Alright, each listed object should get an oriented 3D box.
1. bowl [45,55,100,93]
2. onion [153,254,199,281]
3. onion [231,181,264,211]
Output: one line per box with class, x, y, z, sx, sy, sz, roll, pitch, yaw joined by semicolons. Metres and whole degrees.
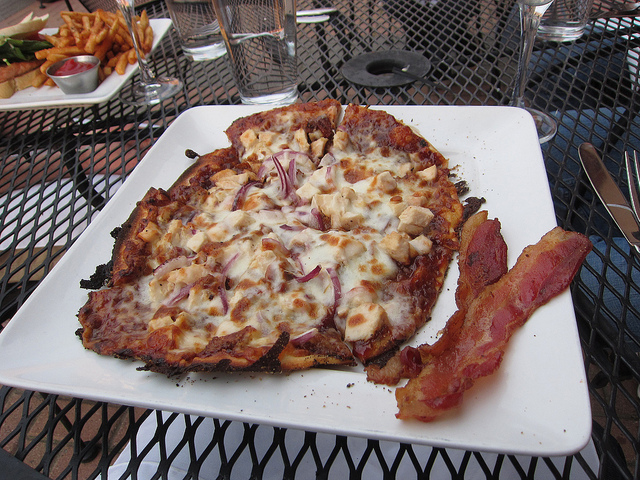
bowl;-1.124;-0.799;2.493;0.194;0.120;0.202;1;43;-1
onion;-0.470;0.077;1.765;0.071;0.038;0.137;38;35;12
onion;-0.273;-0.164;1.923;0.069;0.024;0.111;4;56;25
